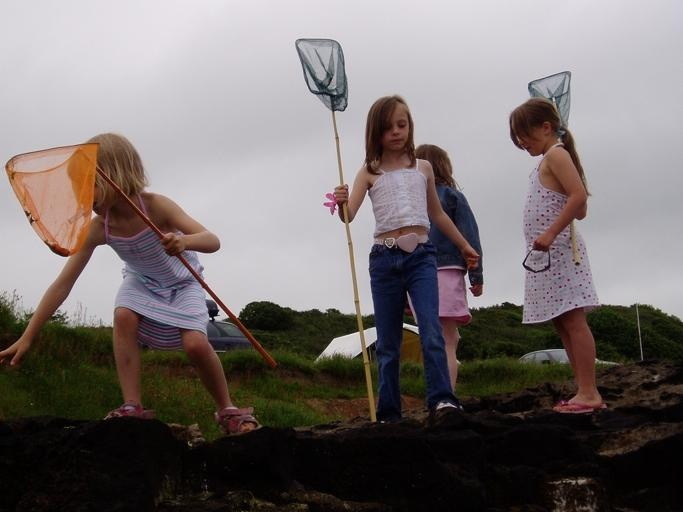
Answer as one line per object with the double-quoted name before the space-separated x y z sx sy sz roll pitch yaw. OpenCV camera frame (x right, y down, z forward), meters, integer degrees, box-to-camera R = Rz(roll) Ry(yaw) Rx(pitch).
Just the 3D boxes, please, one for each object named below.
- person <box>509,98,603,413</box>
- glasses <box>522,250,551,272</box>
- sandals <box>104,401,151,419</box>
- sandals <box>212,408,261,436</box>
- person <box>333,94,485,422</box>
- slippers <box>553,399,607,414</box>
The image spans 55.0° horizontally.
"person" 1.429 -0.086 4.394 0.512 2.188 0.603 -3 -6 21
"glasses" 1.294 0.035 4.284 0.088 0.127 0.032 -6 -16 20
"sandals" -1.185 0.865 3.634 0.237 0.107 0.127 8 -20 -10
"sandals" -0.582 0.944 3.761 0.157 0.133 0.258 -2 -3 -43
"person" 0.417 -0.026 4.250 0.667 2.133 0.418 -6 -8 38
"slippers" 1.539 0.973 4.201 0.250 0.068 0.162 2 -9 10
